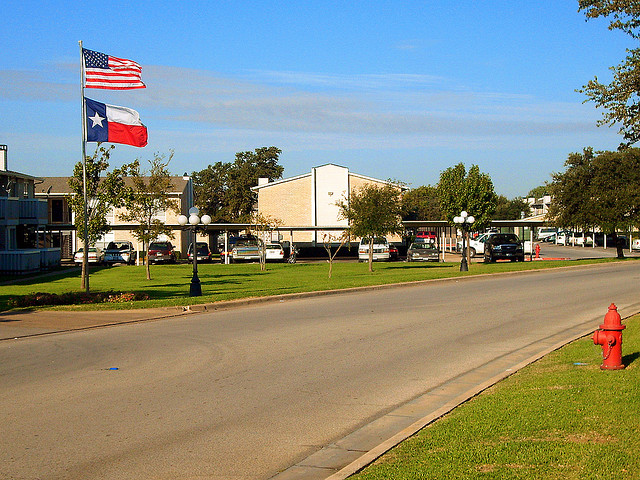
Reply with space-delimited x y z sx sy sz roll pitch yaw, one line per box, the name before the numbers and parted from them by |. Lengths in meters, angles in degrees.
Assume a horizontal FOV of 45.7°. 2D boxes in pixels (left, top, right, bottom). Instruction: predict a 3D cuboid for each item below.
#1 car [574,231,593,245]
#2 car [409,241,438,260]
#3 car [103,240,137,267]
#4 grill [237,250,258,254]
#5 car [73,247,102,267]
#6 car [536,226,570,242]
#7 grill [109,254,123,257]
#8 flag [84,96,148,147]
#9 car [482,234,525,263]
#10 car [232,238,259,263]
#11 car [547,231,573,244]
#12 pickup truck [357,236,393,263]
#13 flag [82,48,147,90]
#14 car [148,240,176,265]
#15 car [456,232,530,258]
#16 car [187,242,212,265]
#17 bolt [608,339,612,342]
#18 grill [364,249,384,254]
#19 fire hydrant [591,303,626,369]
car | 27.098 0.004 78.927 0.628 0.860 1.514 0 -1 -12
car | 6.847 0.726 50.385 1.748 1.108 2.097 0 -1 1
car | -13.716 0.828 52.805 1.497 1.458 3.233 -1 -6 -2
grill | -4.834 0.773 50.176 1.280 0.255 0.197 0 -1 -8
car | -15.629 1.081 50.907 1.317 1.260 5.792 0 -1 -7
car | 25.661 -0.643 83.069 2.572 1.379 1.567 -8 2 9
grill | -13.855 1.066 51.242 0.745 0.214 0.212 0 -1 -14
flag | -7.128 -4.166 26.230 2.135 1.746 0.264 -1 13 -8
car | 11.516 0.500 47.272 2.236 1.716 2.151 0 -1 17
car | -4.874 0.707 50.798 1.725 1.585 1.881 0 -1 12
car | 26.902 -0.294 84.654 2.616 1.404 1.538 1 0 10
pickup truck | 3.580 0.622 49.187 1.554 1.452 2.822 -1 -4 3
flag | -7.166 -5.832 26.005 1.856 1.303 0.500 0 -1 -6
car | -10.731 0.859 51.254 1.662 1.570 1.916 0 -1 -16
car | 12.022 0.395 52.981 5.464 2.121 2.412 0 0 -7
car | -8.382 0.935 53.992 1.102 0.908 2.570 0 5 -5
bolt | 4.961 1.726 12.958 0.047 0.046 0.023 0 -1 0
grill | 3.640 0.761 50.853 1.264 0.298 0.934 0 -1 7
fire hydrant | 5.075 1.668 13.286 0.497 1.160 0.872 0 -1 20
